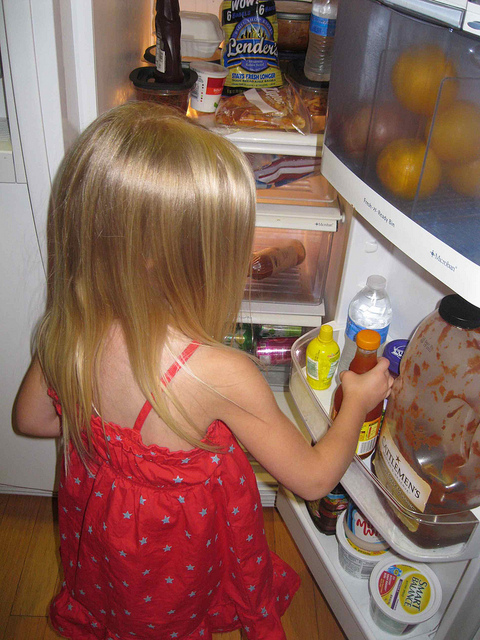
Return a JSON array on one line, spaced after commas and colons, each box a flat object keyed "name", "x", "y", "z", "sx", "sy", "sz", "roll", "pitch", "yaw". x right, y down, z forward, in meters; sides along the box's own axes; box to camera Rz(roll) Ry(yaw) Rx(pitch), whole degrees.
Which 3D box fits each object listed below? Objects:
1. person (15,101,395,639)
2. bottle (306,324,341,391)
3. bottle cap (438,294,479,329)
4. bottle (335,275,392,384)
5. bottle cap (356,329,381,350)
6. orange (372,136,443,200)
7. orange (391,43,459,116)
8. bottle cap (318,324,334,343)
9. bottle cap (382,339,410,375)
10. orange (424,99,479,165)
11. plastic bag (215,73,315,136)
[{"name": "person", "x": -0.069, "y": 0.222, "z": 0.769, "sx": 0.551, "sy": 1.019, "sz": 0.249, "roll": -2, "pitch": 32, "yaw": -9}, {"name": "bottle", "x": 0.157, "y": 0.067, "z": 0.855, "sx": 0.056, "sy": 0.139, "sz": 0.061, "roll": 1, "pitch": 38, "yaw": 0}, {"name": "bottle cap", "x": 0.287, "y": -0.002, "z": 0.590, "sx": 0.040, "sy": 0.011, "sz": 0.043, "roll": 28, "pitch": 36, "yaw": 19}, {"name": "bottle", "x": 0.263, "y": 0.005, "z": 0.982, "sx": 0.090, "sy": 0.305, "sz": 0.102, "roll": 19, "pitch": 54, "yaw": 19}, {"name": "bottle cap", "x": 0.207, "y": 0.032, "z": 0.718, "sx": 0.034, "sy": 0.026, "sz": 0.034, "roll": 29, "pitch": 42, "yaw": 30}, {"name": "orange", "x": 0.191, "y": -0.167, "z": 0.518, "sx": 0.056, "sy": 0.070, "sz": 0.063, "roll": 4, "pitch": 11, "yaw": -10}, {"name": "orange", "x": 0.191, "y": -0.240, "z": 0.468, "sx": 0.048, "sy": 0.074, "sz": 0.067, "roll": -11, "pitch": 39, "yaw": -12}, {"name": "bottle cap", "x": 0.161, "y": 0.026, "z": 0.832, "sx": 0.028, "sy": 0.027, "sz": 0.028, "roll": 4, "pitch": 34, "yaw": -1}, {"name": "bottle cap", "x": 0.295, "y": 0.069, "z": 0.853, "sx": 0.052, "sy": 0.014, "sz": 0.055, "roll": 17, "pitch": 40, "yaw": 33}, {"name": "orange", "x": 0.200, "y": -0.174, "z": 0.424, "sx": 0.040, "sy": 0.059, "sz": 0.044, "roll": 5, "pitch": 10, "yaw": 27}, {"name": "plastic bag", "x": 0.050, "y": -0.521, "z": 1.063, "sx": 0.219, "sy": 0.083, "sz": 0.299, "roll": 2, "pitch": 37, "yaw": -6}]
